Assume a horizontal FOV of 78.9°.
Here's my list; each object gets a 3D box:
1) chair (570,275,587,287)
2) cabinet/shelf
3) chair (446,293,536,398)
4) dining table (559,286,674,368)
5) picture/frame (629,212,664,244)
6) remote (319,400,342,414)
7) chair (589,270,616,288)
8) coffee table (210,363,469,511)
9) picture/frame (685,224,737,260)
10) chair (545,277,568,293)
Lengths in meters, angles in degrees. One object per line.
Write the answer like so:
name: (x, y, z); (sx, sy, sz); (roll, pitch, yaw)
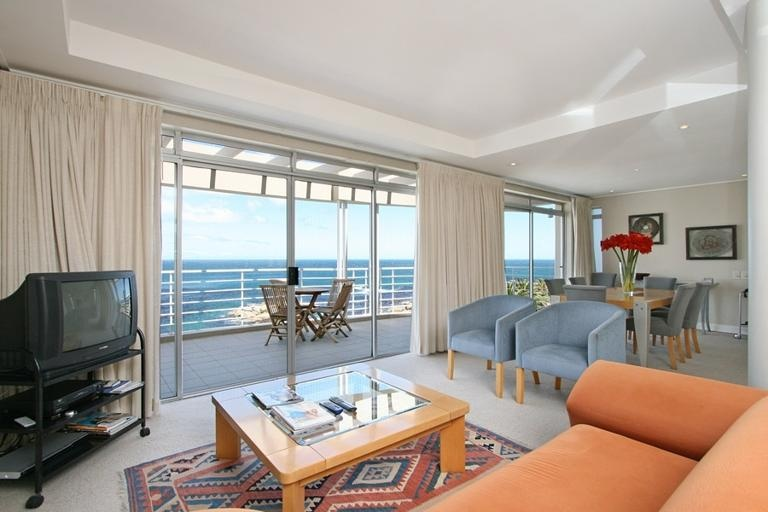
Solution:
chair: (3.175, 0.416, 7.639); (0.169, 0.176, 0.157); (-2, 4, -7)
cabinet/shelf: (-2.509, 1.320, 3.730); (0.571, 1.270, 1.377); (1, 0, 16)
chair: (1.273, 0.924, 5.326); (0.995, 0.855, 0.929); (-3, 4, -18)
dining table: (3.002, 0.734, 5.997); (1.217, 0.807, 1.170); (-1, 0, -35)
picture/frame: (4.563, -0.481, 8.066); (0.031, 0.690, 0.753); (0, 2, -27)
remote: (-0.410, 1.186, 3.666); (0.071, 0.033, 0.135); (1, 2, -39)
chair: (3.774, 0.412, 8.015); (0.364, 0.406, 0.375); (-1, -4, 31)
coffee table: (-0.424, 1.262, 3.694); (1.184, 0.396, 1.146); (-2, 1, -39)
picture/frame: (5.654, -0.241, 8.020); (0.053, 0.521, 0.669); (1, -2, -36)
chair: (2.467, 0.437, 6.795); (0.284, 0.299, 0.266); (-1, 2, -16)
